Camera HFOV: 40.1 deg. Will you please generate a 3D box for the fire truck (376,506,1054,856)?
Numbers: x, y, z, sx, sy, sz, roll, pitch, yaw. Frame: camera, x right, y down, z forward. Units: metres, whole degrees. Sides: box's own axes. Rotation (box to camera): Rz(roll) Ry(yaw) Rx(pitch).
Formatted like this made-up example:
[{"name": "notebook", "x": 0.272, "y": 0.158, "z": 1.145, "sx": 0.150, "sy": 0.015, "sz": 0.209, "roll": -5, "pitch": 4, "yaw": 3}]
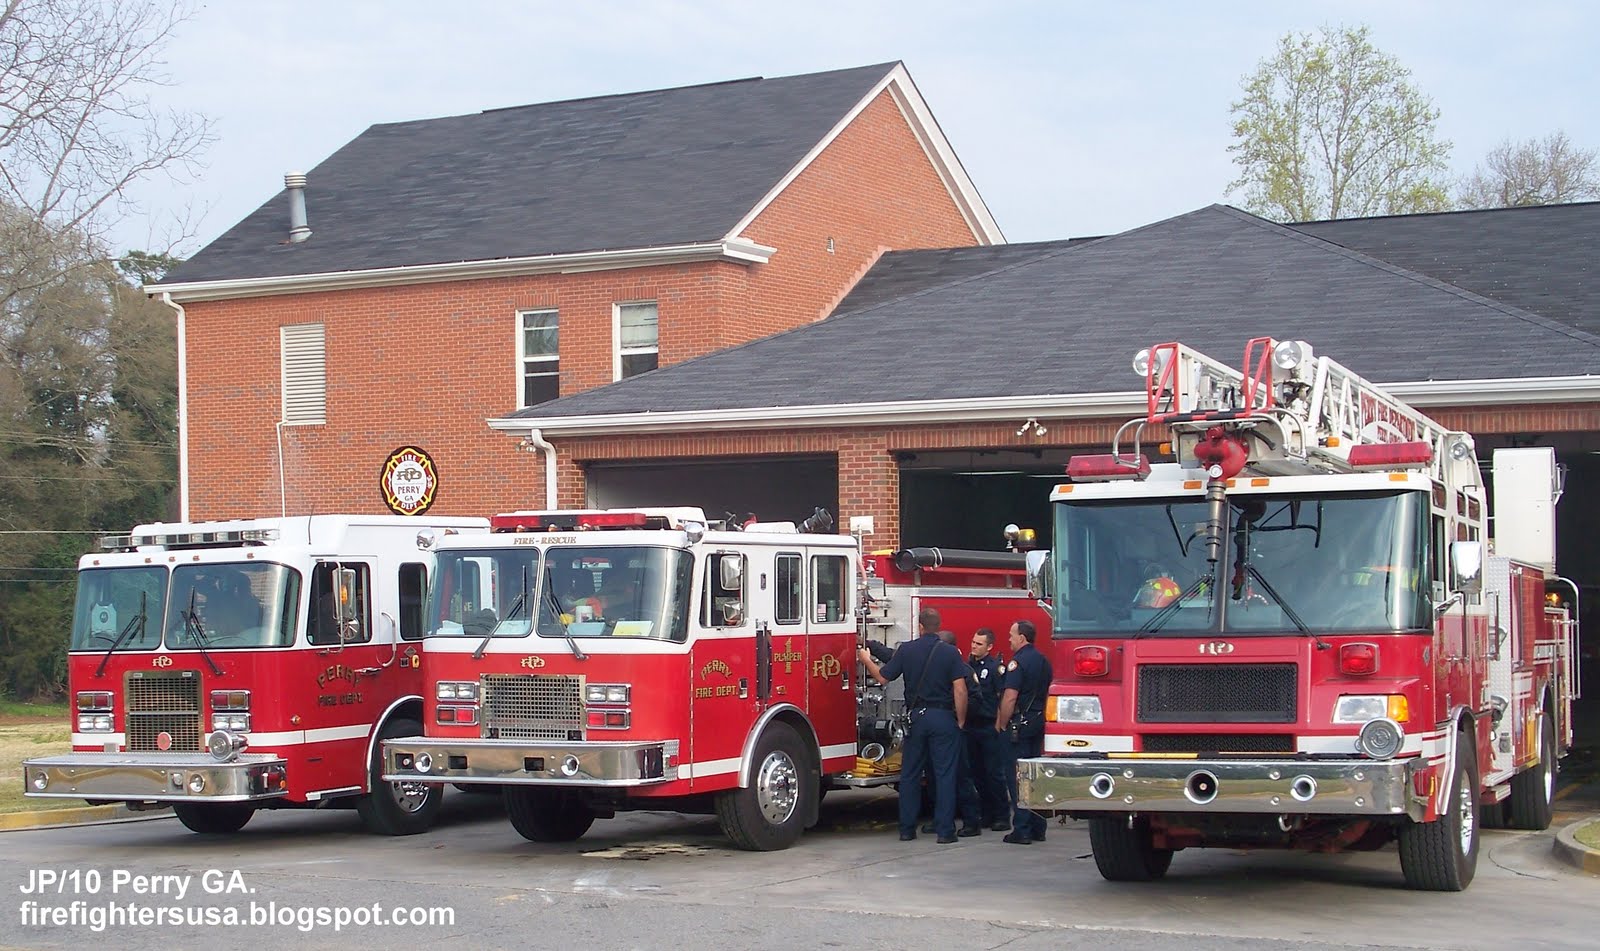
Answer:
[{"name": "fire truck", "x": -1.284, "y": 2.737, "z": 28.177, "sx": 3.586, "sy": 3.903, "sz": 11.267, "roll": 3, "pitch": 1, "yaw": 38}]
